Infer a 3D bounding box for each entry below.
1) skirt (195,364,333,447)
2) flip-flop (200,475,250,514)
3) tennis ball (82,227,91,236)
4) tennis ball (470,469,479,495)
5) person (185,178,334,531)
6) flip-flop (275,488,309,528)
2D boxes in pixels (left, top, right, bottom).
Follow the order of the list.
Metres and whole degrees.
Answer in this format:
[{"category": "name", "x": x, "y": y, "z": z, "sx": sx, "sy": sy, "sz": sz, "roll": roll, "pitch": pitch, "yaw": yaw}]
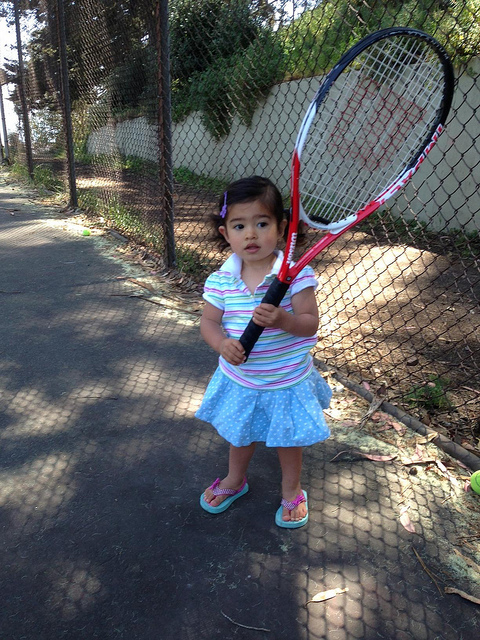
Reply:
[{"category": "skirt", "x": 0.067, "y": 0.273, "z": 1.437, "sx": 0.401, "sy": 0.223, "sz": 0.131, "roll": 12, "pitch": 26, "yaw": 7}, {"category": "flip-flop", "x": -0.038, "y": 0.564, "z": 1.624, "sx": 0.094, "sy": 0.064, "sz": 0.221, "roll": 27, "pitch": 30, "yaw": 33}, {"category": "tennis ball", "x": -1.765, "y": -1.020, "z": 5.501, "sx": 0.134, "sy": 0.081, "sz": 0.154, "roll": 0, "pitch": 4, "yaw": -4}, {"category": "tennis ball", "x": 0.802, "y": 0.561, "z": 1.652, "sx": 0.023, "sy": 0.059, "sz": 0.055, "roll": 1, "pitch": 4, "yaw": 5}, {"category": "person", "x": 0.093, "y": 0.117, "z": 1.528, "sx": 0.481, "sy": 1.056, "sz": 0.562, "roll": 8, "pitch": 26, "yaw": -5}, {"category": "flip-flop", "x": 0.187, "y": 0.609, "z": 1.591, "sx": 0.105, "sy": 0.062, "sz": 0.251, "roll": -2, "pitch": 1, "yaw": 19}]
